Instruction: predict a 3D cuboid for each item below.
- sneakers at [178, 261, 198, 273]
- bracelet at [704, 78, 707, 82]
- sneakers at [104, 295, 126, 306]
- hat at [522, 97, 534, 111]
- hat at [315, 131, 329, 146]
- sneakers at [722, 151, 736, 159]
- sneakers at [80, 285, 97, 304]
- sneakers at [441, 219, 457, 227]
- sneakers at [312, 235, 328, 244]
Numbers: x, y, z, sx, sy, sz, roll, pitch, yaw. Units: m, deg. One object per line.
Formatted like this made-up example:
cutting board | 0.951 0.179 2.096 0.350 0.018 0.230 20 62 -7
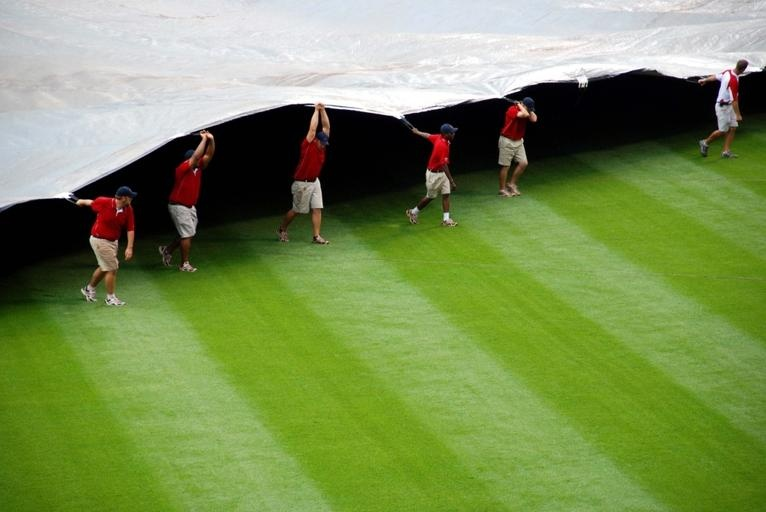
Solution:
sneakers | -3.675 0.225 10.533 0.441 0.137 0.142 3 20 11
bracelet | 8.101 -4.402 13.675 0.095 0.069 0.331 11 27 25
sneakers | -4.595 0.773 9.391 0.432 0.128 0.150 3 10 -4
hat | 3.450 -3.549 12.865 0.243 0.368 0.693 8 28 18
hat | -1.177 -2.364 11.041 0.188 0.283 0.352 9 30 20
sneakers | 9.244 -2.695 14.598 0.544 0.174 0.137 -1 31 -10
sneakers | -5.097 0.689 9.492 0.389 0.184 0.132 38 26 -3
sneakers | 1.491 -0.727 12.166 0.313 0.098 0.148 4 15 29
sneakers | -1.309 -0.322 11.584 0.469 0.190 0.130 0 11 -4
